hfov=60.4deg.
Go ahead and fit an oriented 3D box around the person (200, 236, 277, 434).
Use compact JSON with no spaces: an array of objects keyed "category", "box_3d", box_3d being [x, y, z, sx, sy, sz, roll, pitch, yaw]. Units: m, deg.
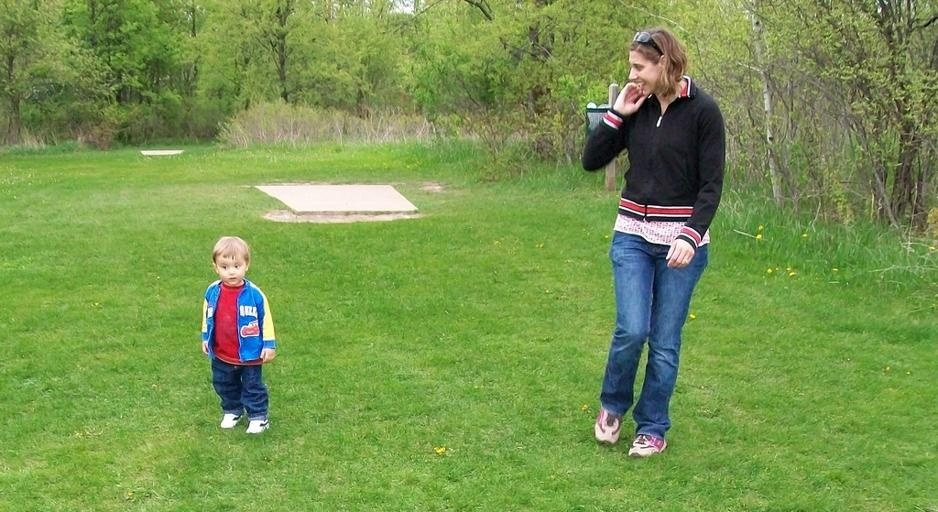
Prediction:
[{"category":"person","box_3d":[-2.696,0.920,9.465,0.811,2.280,0.404,0,9,-7]}]
